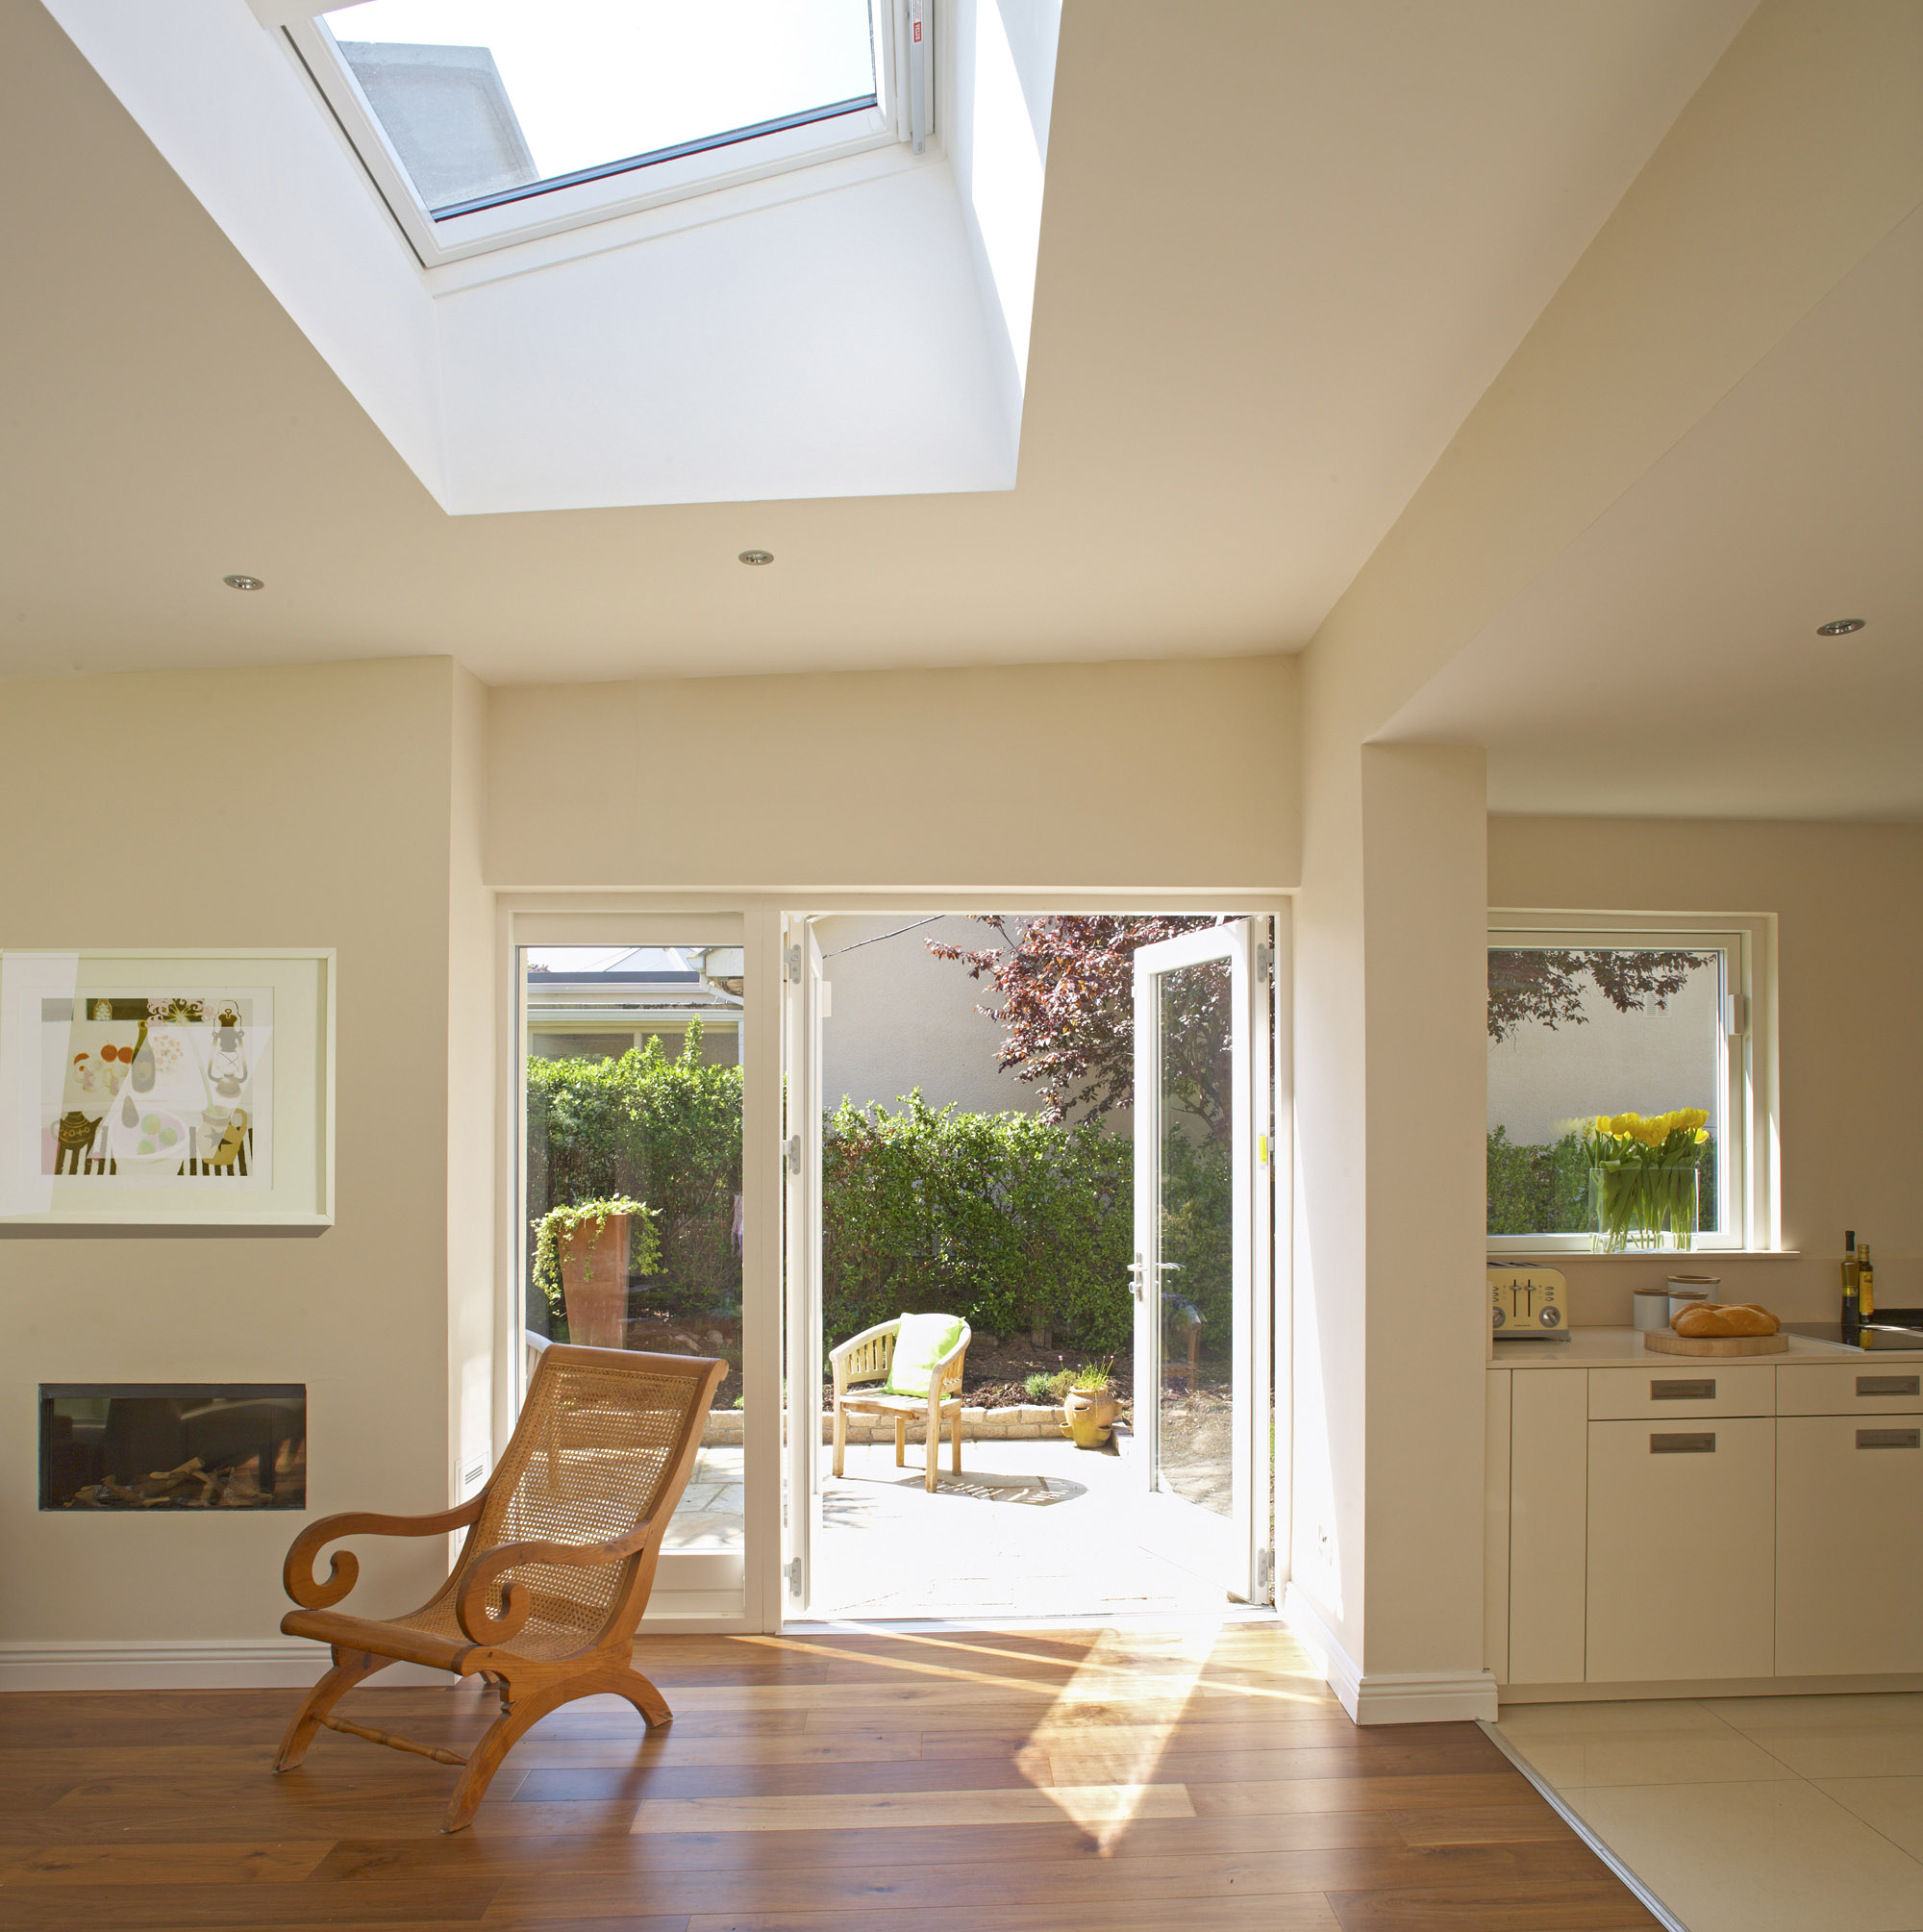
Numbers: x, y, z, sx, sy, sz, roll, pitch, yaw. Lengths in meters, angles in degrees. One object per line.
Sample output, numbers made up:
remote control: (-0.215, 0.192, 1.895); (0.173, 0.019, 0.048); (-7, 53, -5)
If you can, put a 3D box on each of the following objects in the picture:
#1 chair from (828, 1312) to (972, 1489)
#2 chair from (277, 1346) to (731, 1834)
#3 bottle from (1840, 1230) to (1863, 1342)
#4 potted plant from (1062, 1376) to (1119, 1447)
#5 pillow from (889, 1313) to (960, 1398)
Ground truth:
chair: (-0.195, 1.790, 7.425); (0.561, 0.607, 0.498); (-8, -14, 40)
chair: (-1.098, 1.456, 4.263); (0.717, 0.804, 0.951); (0, 0, 24)
bottle: (2.533, 0.895, 5.030); (0.077, 0.245, 0.295); (-2, -3, 26)
potted plant: (0.596, 2.042, 7.982); (0.249, 0.251, 0.301); (-1, -3, 3)
pillow: (-0.149, 1.617, 7.355); (0.287, 0.270, 0.305); (0, -5, 18)
